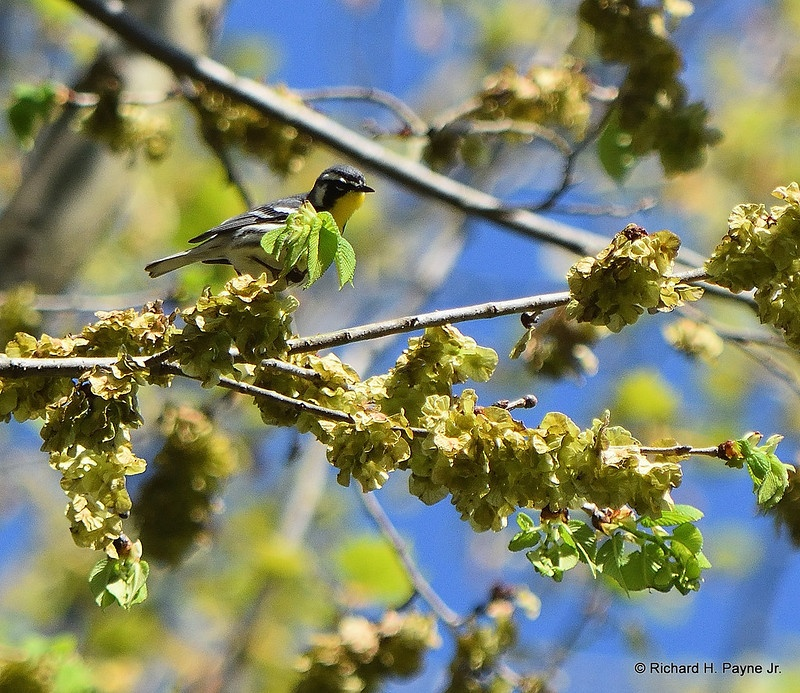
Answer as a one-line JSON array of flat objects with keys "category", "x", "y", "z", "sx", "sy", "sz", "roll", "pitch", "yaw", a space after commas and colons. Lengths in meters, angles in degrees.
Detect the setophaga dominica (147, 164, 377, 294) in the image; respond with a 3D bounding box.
[{"category": "setophaga dominica", "x": -0.911, "y": -0.816, "z": 9.518, "sx": 1.443, "sy": 0.833, "sz": 0.447, "roll": 1, "pitch": -16, "yaw": 3}]
